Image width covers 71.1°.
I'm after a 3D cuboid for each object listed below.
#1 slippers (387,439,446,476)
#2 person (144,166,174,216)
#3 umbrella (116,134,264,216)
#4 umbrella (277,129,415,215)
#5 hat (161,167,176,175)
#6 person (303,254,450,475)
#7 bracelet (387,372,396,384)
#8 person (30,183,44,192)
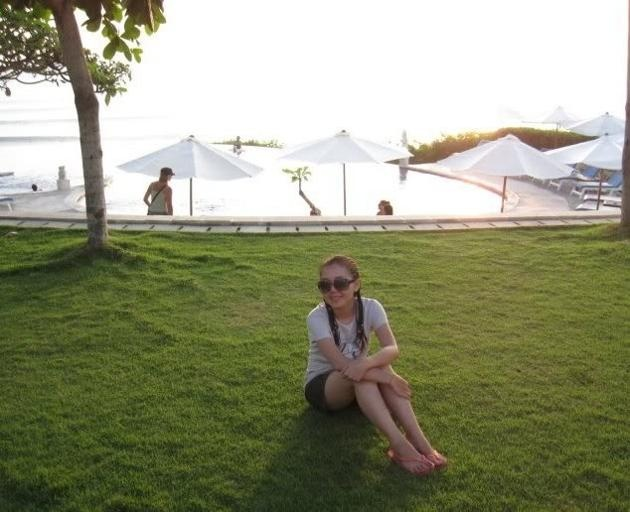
[{"bbox_3d":[0.613,1.278,2.762,0.204,0.066,0.202,-3,3,-44],"label":"slippers"},{"bbox_3d":[-3.233,-1.344,9.235,0.577,0.977,1.430,-4,8,-20],"label":"person"},{"bbox_3d":[-2.410,-1.585,8.865,2.398,1.952,2.444,2,-12,-20],"label":"umbrella"},{"bbox_3d":[0.766,-2.545,10.855,3.072,2.317,3.217,4,11,8],"label":"umbrella"},{"bbox_3d":[-2.880,-1.664,8.669,0.237,0.164,0.185,-7,10,-41],"label":"hat"},{"bbox_3d":[0.367,0.649,3.021,0.515,1.258,1.176,-7,8,-31],"label":"person"},{"bbox_3d":[0.510,0.803,2.910,0.039,0.059,0.016,2,-12,-38],"label":"bracelet"},{"bbox_3d":[-12.968,-3.215,20.766,0.491,0.394,2.725,-5,8,-31],"label":"person"}]
